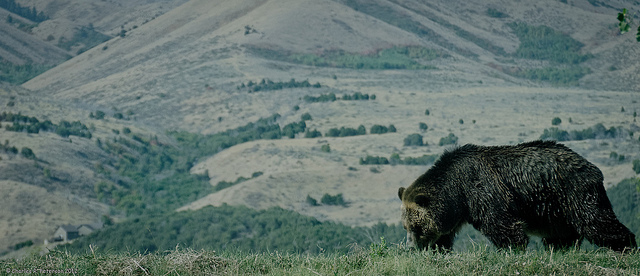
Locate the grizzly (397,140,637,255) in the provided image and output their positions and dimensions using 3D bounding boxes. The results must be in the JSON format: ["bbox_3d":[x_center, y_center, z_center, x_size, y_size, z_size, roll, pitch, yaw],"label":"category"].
[{"bbox_3d":[38.661,12.844,234.463,49.975,22.295,20.654,-6,-6,3],"label":"grizzly"}]
